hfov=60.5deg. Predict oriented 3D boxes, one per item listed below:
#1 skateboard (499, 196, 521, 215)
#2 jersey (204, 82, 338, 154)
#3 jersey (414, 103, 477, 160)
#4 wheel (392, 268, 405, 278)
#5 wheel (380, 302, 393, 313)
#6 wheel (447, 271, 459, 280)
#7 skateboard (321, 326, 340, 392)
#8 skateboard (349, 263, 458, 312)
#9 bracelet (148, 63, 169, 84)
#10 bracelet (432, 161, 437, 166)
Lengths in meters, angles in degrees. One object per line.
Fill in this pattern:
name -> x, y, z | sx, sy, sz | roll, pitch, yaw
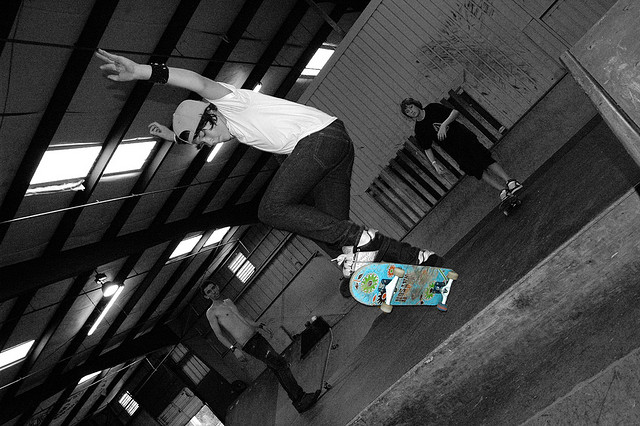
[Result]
skateboard -> 2.286, -0.100, 6.636 | 0.220, 0.144, 0.072 | -39, -42, 19
jersey -> -0.501, -0.921, 5.397 | 0.795, 0.351, 0.836 | -2, -4, 4
jersey -> 1.664, -1.142, 7.609 | 0.673, 0.723, 0.430 | -40, -20, 17
wheel -> 0.728, 0.543, 5.081 | 0.076, 0.060, 0.080 | 10, -4, 1
wheel -> 0.632, 0.901, 5.242 | 0.088, 0.068, 0.091 | 23, -4, 2
wheel -> 1.299, 0.605, 5.421 | 0.074, 0.057, 0.078 | 17, -5, 1
skateboard -> 0.144, 1.992, 7.570 | 0.131, 0.820, 0.203 | 16, -17, -43
skateboard -> 0.779, 0.689, 5.282 | 1.158, 0.482, 0.195 | 2, 12, -18
bracelet -> -1.529, -1.338, 5.233 | 0.174, 0.136, 0.153 | 3, 16, -5
bracelet -> 1.603, -0.712, 7.740 | 0.090, 0.075, 0.095 | -1, -2, 18
